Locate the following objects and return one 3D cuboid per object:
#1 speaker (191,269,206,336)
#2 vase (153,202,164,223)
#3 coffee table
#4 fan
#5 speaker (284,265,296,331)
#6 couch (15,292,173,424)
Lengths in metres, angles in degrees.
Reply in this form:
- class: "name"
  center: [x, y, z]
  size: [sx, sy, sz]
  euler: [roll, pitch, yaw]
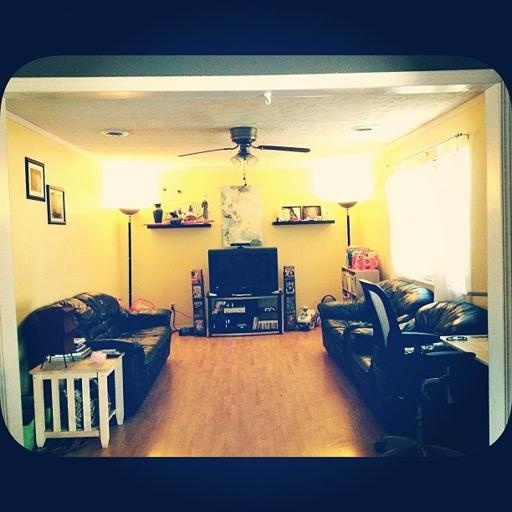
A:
- class: "speaker"
  center: [-0.700, 0.569, 5.812]
  size: [0.159, 0.796, 0.209]
  euler: [-3, 5, -11]
- class: "vase"
  center: [-1.254, -0.537, 6.023]
  size: [0.107, 0.253, 0.208]
  euler: [-3, 5, -17]
- class: "coffee table"
  center: [-1.147, 0.838, 3.156]
  size: [0.482, 0.587, 0.861]
  euler: [0, -2, -4]
- class: "fan"
  center: [-0.079, -0.960, 4.107]
  size: [0.687, 0.191, 0.699]
  euler: [2, 9, 24]
- class: "speaker"
  center: [0.417, 0.526, 5.837]
  size: [0.146, 0.773, 0.154]
  euler: [-2, 5, 3]
- class: "couch"
  center: [-1.182, 0.986, 3.686]
  size: [0.660, 0.680, 1.477]
  euler: [0, 4, -5]
